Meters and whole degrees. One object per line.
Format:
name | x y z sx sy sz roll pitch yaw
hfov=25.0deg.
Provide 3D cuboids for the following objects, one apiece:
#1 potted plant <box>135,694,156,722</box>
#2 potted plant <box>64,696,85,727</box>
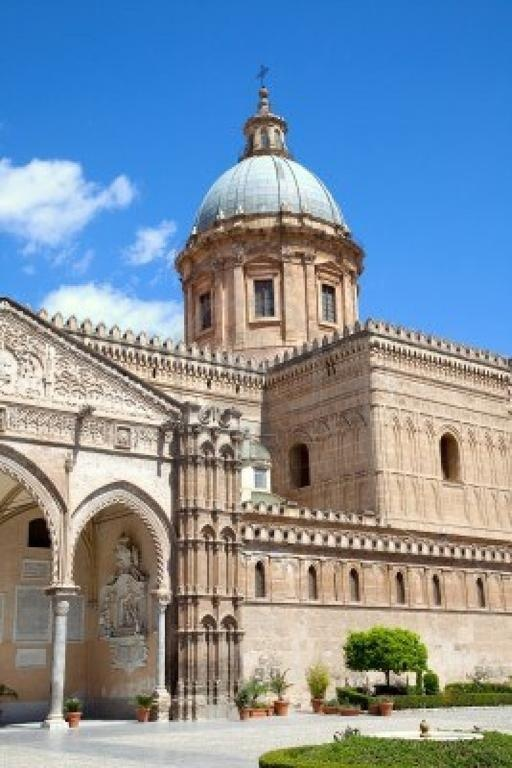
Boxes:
potted plant | -2.751 8.166 28.961 0.473 0.681 0.575 4 -18 -17
potted plant | -4.352 7.866 27.569 0.518 0.932 0.560 5 -11 -21
